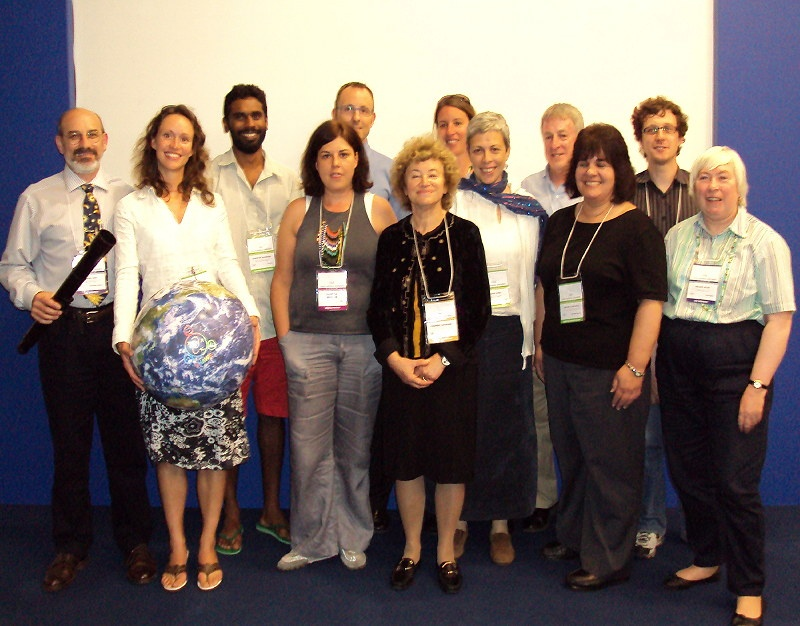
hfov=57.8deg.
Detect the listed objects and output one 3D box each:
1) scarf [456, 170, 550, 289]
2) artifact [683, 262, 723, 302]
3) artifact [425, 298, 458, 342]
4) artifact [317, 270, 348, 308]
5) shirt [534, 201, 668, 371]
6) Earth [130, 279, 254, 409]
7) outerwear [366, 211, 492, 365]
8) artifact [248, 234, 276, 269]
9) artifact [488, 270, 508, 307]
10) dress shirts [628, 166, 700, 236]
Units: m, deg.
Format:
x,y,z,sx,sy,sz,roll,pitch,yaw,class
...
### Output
x,y,z,sx,sy,sz,roll,pitch,yaw,class
0.554,-0.443,4.005,0.492,0.275,0.594,19,17,-6,scarf
1.524,-0.152,3.653,0.179,0.181,0.170,10,-3,-32,artifact
0.216,0.036,3.808,0.190,0.263,0.185,-5,-3,7,artifact
-0.364,-0.125,3.793,0.169,0.186,0.048,-3,-1,0,artifact
1.046,-0.127,3.747,0.439,0.863,0.832,-1,4,-37,shirt
-0.987,0.146,3.727,0.560,0.706,0.570,5,-6,2,Earth
0.143,-0.127,3.757,0.626,0.742,0.351,-4,11,-4,outerwear
-0.823,-0.363,4.310,0.181,0.271,0.142,-4,4,-2,artifact
0.542,-0.135,4.025,0.133,0.193,0.049,-7,-4,-6,artifact
1.487,-0.621,4.053,0.266,0.487,0.113,0,2,19,dress shirts
